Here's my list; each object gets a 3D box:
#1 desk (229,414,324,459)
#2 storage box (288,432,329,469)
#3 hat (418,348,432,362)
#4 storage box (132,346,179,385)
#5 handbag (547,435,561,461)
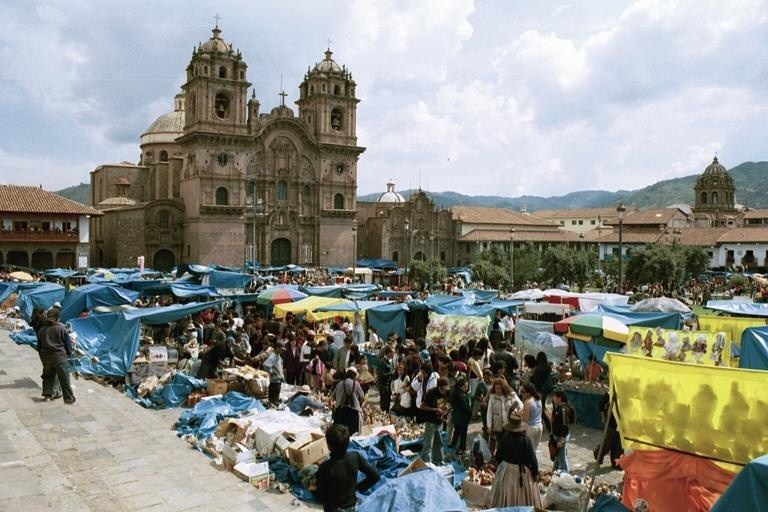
[{"bbox_3d":[-2.925,4.739,20.279,1.517,0.448,1.303,1,0,39],"label":"desk"},{"bbox_3d":[-1.987,5.111,19.412,0.998,0.782,0.752,1,-1,-21],"label":"storage box"},{"bbox_3d":[1.327,3.233,24.219,0.308,0.535,0.441,-10,6,-23],"label":"hat"},{"bbox_3d":[-7.989,3.756,25.467,1.062,0.449,1.255,-1,7,-2],"label":"storage box"},{"bbox_3d":[4.521,5.108,19.688,0.251,0.628,0.640,1,4,-8],"label":"handbag"}]
